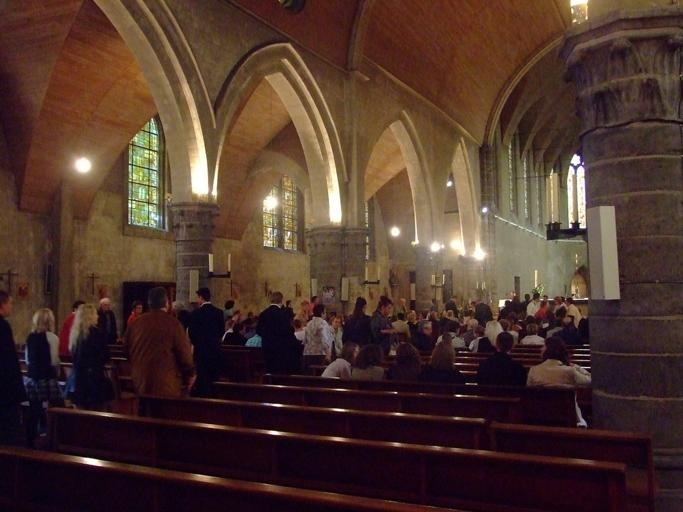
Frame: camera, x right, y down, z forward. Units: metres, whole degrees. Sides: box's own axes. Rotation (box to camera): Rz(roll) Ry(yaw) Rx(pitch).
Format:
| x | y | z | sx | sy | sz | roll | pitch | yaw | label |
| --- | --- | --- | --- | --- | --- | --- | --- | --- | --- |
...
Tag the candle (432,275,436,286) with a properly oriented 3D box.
| x | y | z | sx | sy | sz | roll | pitch | yaw | label |
| --- | --- | --- | --- | --- | --- | --- | --- | --- | --- |
| 2.928 | 0.757 | 20.027 | 0.184 | 0.363 | 0.085 | 5 | -7 | -38 | candle |
